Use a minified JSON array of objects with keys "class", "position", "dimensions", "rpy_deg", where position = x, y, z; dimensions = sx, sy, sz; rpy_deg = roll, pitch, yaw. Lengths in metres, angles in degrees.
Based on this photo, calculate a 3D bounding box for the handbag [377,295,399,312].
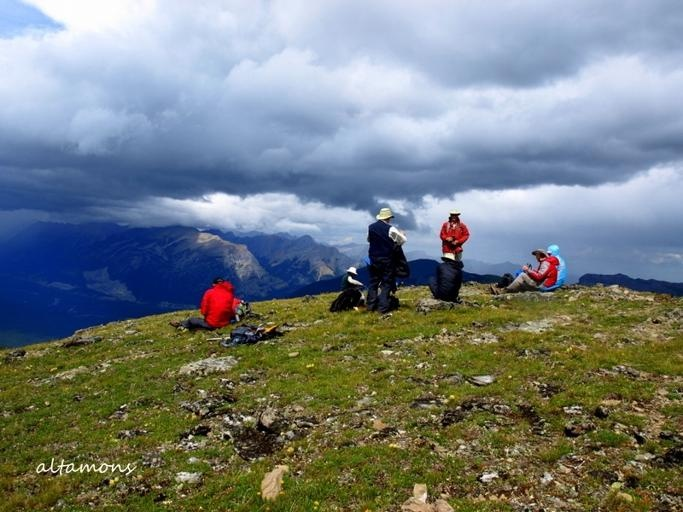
[{"class":"handbag","position":[2.932,3.076,29.804],"dimensions":[1.602,1.266,0.883],"rpy_deg":[2,-22,1]}]
